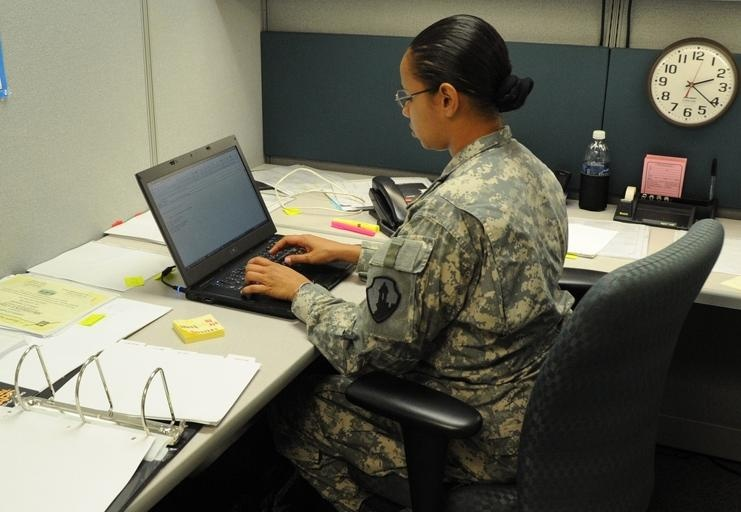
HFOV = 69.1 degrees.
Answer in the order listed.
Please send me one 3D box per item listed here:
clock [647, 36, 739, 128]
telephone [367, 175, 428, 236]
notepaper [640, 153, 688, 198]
[{"bbox_3d":[1.176,-0.630,1.967,0.283,0.299,0.133,8,20,18],"label":"clock"},{"bbox_3d":[0.074,-0.215,2.030,0.283,0.217,0.322,-1,21,-9],"label":"telephone"},{"bbox_3d":[1.123,-0.308,2.065,0.163,0.168,0.040,15,20,21],"label":"notepaper"}]
